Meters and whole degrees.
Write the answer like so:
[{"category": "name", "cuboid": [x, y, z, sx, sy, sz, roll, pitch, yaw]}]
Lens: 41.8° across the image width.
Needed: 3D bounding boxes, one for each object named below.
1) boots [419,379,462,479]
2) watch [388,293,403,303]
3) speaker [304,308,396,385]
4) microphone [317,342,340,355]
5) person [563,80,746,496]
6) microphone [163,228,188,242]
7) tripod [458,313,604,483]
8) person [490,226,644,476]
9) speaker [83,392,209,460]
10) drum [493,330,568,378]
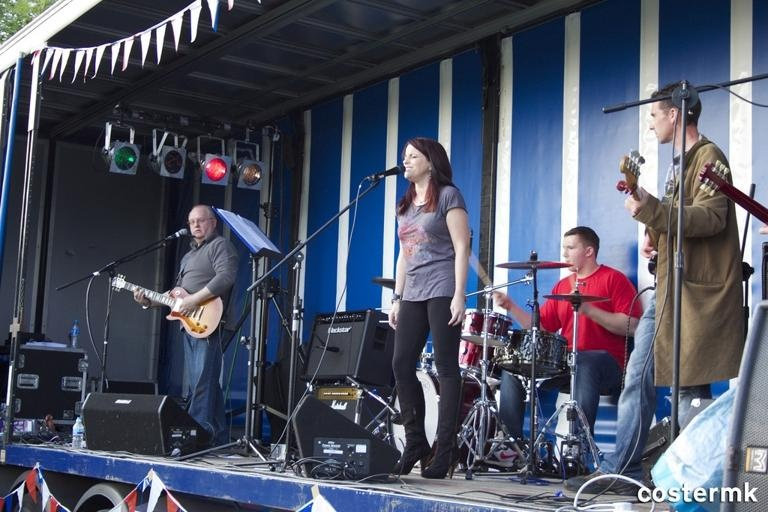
[{"category": "boots", "cuboid": [0.378, 1.117, 6.642, 0.247, 0.708, 0.280, 2, -6, 2]}, {"category": "watch", "cuboid": [0.101, 0.296, 7.033, 0.066, 0.053, 0.051, 3, -7, -19]}, {"category": "speaker", "cuboid": [-0.241, 0.851, 8.707, 0.664, 0.641, 0.592, -9, -22, 41]}, {"category": "microphone", "cuboid": [-0.471, 0.784, 8.584, 0.226, 0.067, 0.070, 9, 36, 21]}, {"category": "person", "cuboid": [1.787, 0.215, 6.475, 0.862, 2.671, 0.822, 6, -3, -25]}, {"category": "microphone", "cuboid": [-2.287, -0.233, 11.153, 0.290, 0.089, 0.078, -25, 32, -15]}, {"category": "tripod", "cuboid": [1.252, 1.118, 7.876, 1.223, 1.315, 1.073, -2, -9, 25]}, {"category": "person", "cuboid": [1.422, 0.683, 7.843, 1.026, 2.020, 0.942, 17, -20, -37]}, {"category": "speaker", "cuboid": [-1.861, 1.233, 7.723, 0.785, 0.428, 0.600, -1, 5, 13]}, {"category": "drum", "cuboid": [1.137, 0.734, 7.496, 0.386, 0.168, 0.393, 6, -20, 2]}]
